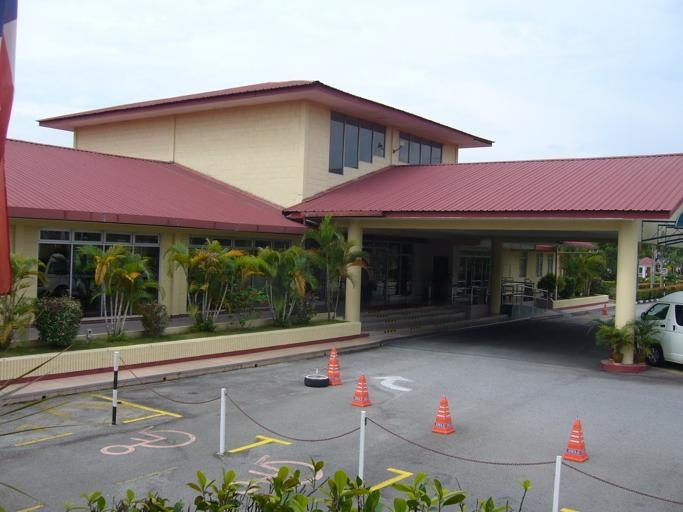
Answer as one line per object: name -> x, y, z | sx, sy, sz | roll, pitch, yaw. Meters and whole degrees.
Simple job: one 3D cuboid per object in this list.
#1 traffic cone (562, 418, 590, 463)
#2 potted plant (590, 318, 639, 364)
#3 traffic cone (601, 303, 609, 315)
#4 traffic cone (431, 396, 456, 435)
traffic cone -> 4.590, 3.440, 11.933 | 0.453, 0.740, 1.378 | 3, 3, 21
potted plant -> 8.920, 2.770, 19.972 | 1.360, 1.532, 1.438 | 2, -8, -6
traffic cone -> 17.117, 3.502, 39.871 | 0.352, 0.650, 0.344 | 1, 28, 20
traffic cone -> 2.133, 3.339, 12.889 | 0.439, 0.663, 0.506 | 0, -7, 44
